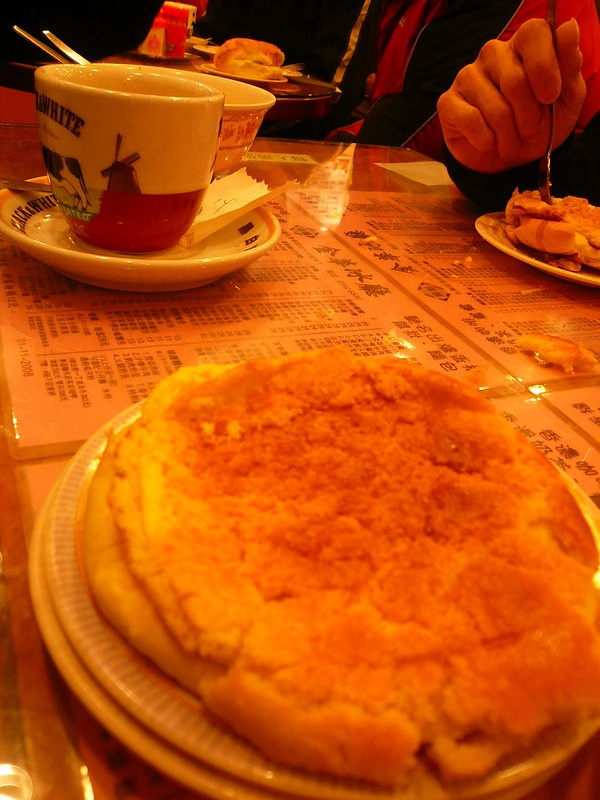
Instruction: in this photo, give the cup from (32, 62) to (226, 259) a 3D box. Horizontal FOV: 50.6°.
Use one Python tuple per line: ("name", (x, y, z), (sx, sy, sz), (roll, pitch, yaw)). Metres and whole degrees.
("cup", (-0.164, -0.218, 0.598), (0.181, 0.138, 0.172), (10, 27, -5))
